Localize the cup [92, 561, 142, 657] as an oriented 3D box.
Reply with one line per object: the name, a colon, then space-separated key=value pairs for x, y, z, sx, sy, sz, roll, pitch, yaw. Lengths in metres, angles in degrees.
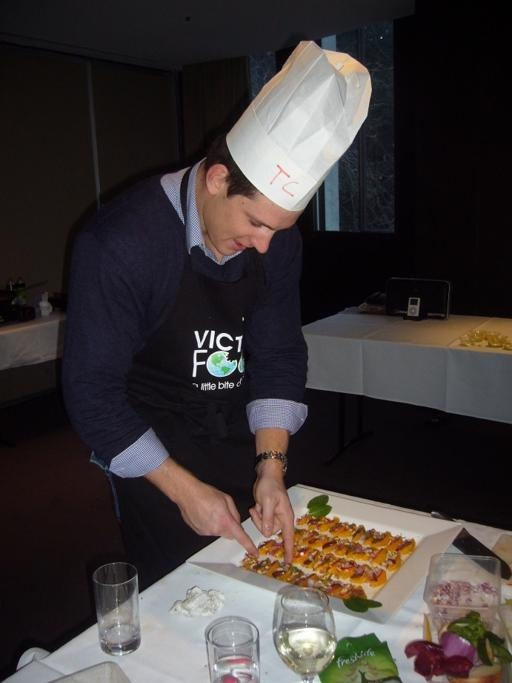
cup: x=-0.206 y=0.394 z=0.781 sx=0.062 sy=0.107 sz=0.063 roll=-1 pitch=1 yaw=0

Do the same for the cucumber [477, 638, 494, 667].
cucumber: x=0.277 y=0.374 z=0.635 sx=0.013 sy=0.025 sz=0.007 roll=16 pitch=-37 yaw=-8

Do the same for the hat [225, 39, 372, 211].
hat: x=0.082 y=-0.402 z=1.003 sx=0.273 sy=0.318 sz=0.119 roll=-1 pitch=5 yaw=-3
